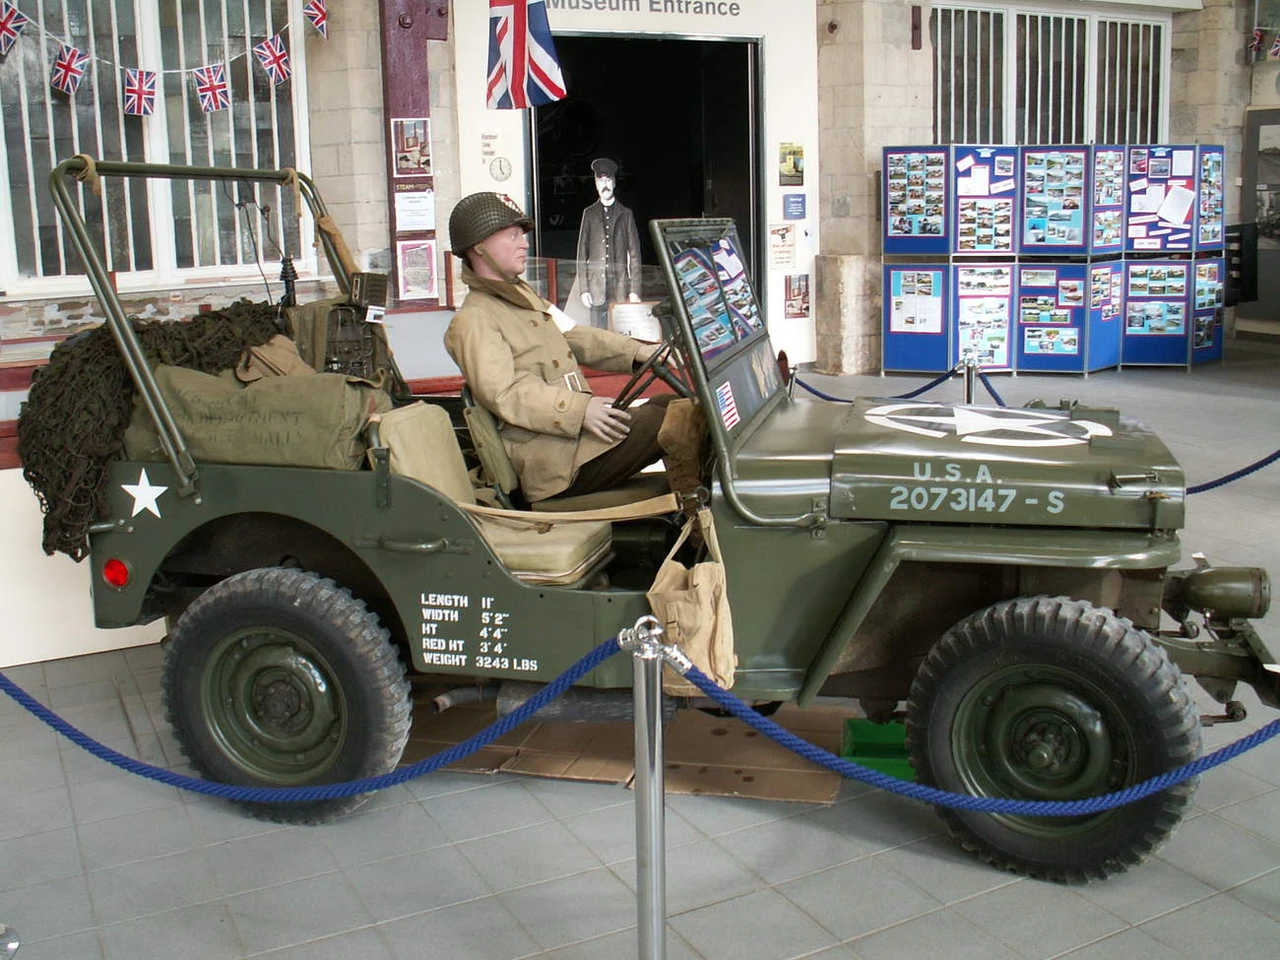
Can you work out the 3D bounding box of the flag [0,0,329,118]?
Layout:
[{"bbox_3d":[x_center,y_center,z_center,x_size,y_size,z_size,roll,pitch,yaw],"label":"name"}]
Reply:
[{"bbox_3d":[-3.562,-3.238,8.721,2.315,0.875,0.648,-8,17,-20],"label":"flag"}]

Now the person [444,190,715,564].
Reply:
[{"bbox_3d":[-0.215,-0.414,4.369,0.936,1.260,0.746,0,15,14],"label":"person"}]

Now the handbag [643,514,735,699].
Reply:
[{"bbox_3d":[0.168,0.406,3.586,0.290,0.631,0.305,-12,19,-31],"label":"handbag"}]

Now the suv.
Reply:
[{"bbox_3d":[0.158,0.080,4.553,4.183,2.332,2.160,0,8,9],"label":"suv"}]

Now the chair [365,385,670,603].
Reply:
[{"bbox_3d":[-0.376,0.034,3.913,0.881,0.537,0.589,1,14,12],"label":"chair"}]
